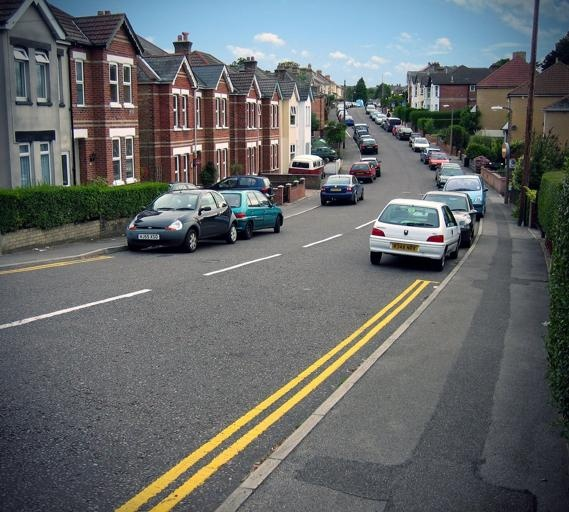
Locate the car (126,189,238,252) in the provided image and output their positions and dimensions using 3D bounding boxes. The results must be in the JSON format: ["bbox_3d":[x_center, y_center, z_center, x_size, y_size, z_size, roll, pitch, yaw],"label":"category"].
[{"bbox_3d":[-3.390,-1.223,18.011,1.745,1.942,4.126,5,8,28],"label":"car"}]

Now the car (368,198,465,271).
[{"bbox_3d":[4.037,-0.612,15.755,3.022,1.996,1.820,-3,8,-32],"label":"car"}]

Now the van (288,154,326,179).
[{"bbox_3d":[2.223,-8.635,51.457,2.035,1.993,4.538,6,9,33],"label":"van"}]

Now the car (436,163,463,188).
[{"bbox_3d":[13.815,-6.463,45.019,1.593,1.921,4.222,0,13,9],"label":"car"}]

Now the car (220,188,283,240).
[{"bbox_3d":[-1.459,-1.873,22.550,1.219,1.369,2.730,3,16,23],"label":"car"}]

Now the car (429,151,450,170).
[{"bbox_3d":[17.280,-10.744,60.017,1.777,2.142,3.684,0,9,5],"label":"car"}]

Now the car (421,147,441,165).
[{"bbox_3d":[17.791,-12.251,65.618,1.344,1.481,3.514,-3,14,3],"label":"car"}]

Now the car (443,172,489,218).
[{"bbox_3d":[10.462,-3.469,30.309,1.899,1.878,4.026,1,7,19],"label":"car"}]

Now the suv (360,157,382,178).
[{"bbox_3d":[9.275,-9.032,55.156,1.267,1.340,3.219,0,21,9],"label":"suv"}]

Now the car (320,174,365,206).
[{"bbox_3d":[4.082,-4.690,38.729,2.235,2.271,2.964,5,8,25],"label":"car"}]
